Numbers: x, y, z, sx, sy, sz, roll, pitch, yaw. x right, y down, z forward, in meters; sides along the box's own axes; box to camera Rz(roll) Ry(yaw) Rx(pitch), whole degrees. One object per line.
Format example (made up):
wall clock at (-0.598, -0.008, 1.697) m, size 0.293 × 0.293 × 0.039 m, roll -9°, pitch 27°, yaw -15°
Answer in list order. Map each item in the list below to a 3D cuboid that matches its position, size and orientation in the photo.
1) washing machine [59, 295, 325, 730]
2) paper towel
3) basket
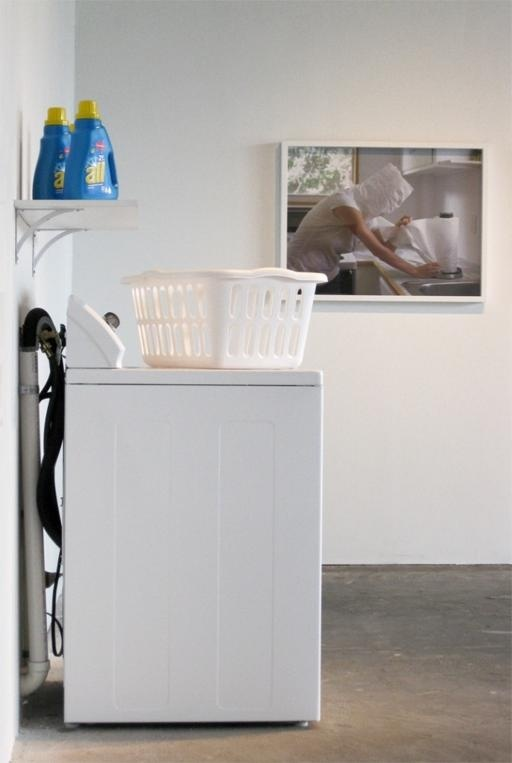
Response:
washing machine at (-0.122, 0.256, 2.198) m, size 0.558 × 0.865 × 0.635 m, roll 0°, pitch 1°, yaw -5°
paper towel at (0.595, -0.479, 3.232) m, size 0.275 × 0.199 × 0.077 m, roll -3°, pitch 5°, yaw -23°
basket at (-0.070, -0.116, 2.088) m, size 0.410 × 0.237 × 0.408 m, roll 1°, pitch 3°, yaw 0°
